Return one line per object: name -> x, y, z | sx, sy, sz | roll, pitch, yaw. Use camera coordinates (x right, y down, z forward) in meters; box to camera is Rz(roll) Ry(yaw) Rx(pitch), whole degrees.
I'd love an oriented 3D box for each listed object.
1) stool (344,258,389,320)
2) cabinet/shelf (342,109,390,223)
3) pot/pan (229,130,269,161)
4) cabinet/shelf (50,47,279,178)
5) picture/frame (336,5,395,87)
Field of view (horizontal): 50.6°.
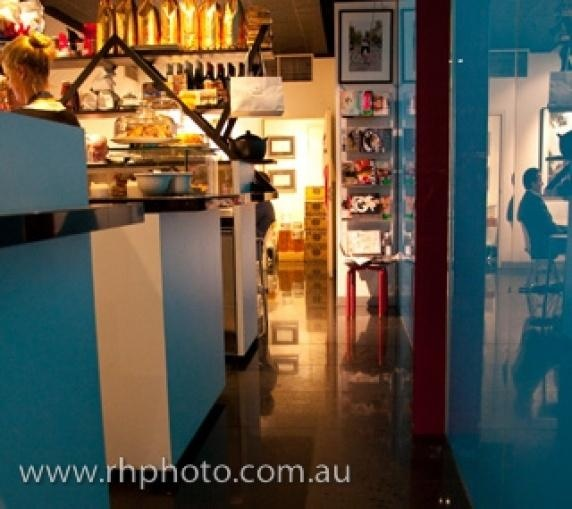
stool -> 0.796, 0.355, 6.187 | 0.474, 0.733, 0.516 | 0, -2, 0
cabinet/shelf -> 0.903, -0.950, 6.774 | 0.643, 1.320, 0.466 | -2, 32, 8
pot/pan -> -0.271, -0.804, 4.427 | 0.220, 0.181, 0.203 | -3, 17, -4
cabinet/shelf -> -0.856, -1.140, 4.473 | 1.478, 0.953, 0.410 | 0, 5, 10
picture/frame -> 0.873, -2.253, 6.487 | 0.742, 1.102, 0.042 | 0, 3, 6
